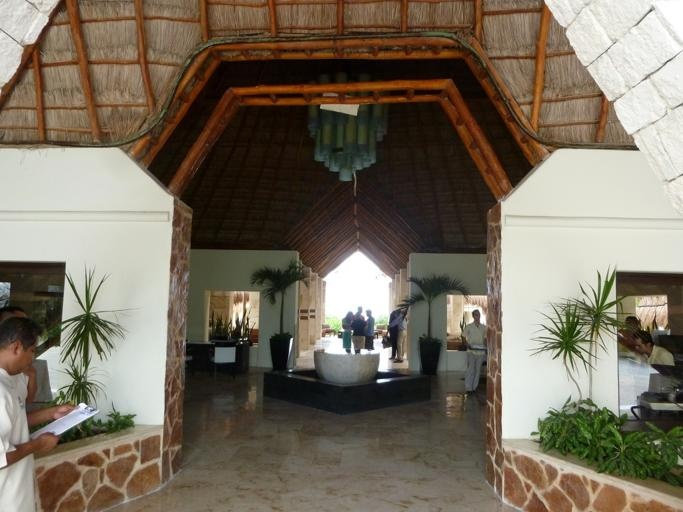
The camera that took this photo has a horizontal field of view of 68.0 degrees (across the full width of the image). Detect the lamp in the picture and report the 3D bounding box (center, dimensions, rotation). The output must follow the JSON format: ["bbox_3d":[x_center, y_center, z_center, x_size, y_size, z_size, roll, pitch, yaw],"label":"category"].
[{"bbox_3d":[0.079,-2.293,9.160,1.121,1.771,1.208,2,-30,-3],"label":"lamp"}]

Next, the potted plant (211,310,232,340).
[{"bbox_3d":[-3.366,1.979,14.124,0.512,0.652,2.083,3,-9,-15],"label":"potted plant"}]

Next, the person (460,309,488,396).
[{"bbox_3d":[2.754,1.954,10.491,0.426,1.707,1.409,0,-8,14],"label":"person"}]

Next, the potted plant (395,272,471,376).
[{"bbox_3d":[2.614,1.928,14.539,1.936,3.224,2.394,4,-8,-7],"label":"potted plant"}]

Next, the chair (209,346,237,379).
[{"bbox_3d":[-2.761,2.457,12.119,0.498,0.685,1.128,3,-8,-10],"label":"chair"}]

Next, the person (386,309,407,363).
[{"bbox_3d":[1.762,2.553,16.039,0.555,0.586,1.797,10,21,6],"label":"person"}]

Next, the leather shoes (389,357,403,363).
[{"bbox_3d":[1.725,3.223,15.652,0.247,0.144,0.399,10,-17,-6],"label":"leather shoes"}]
